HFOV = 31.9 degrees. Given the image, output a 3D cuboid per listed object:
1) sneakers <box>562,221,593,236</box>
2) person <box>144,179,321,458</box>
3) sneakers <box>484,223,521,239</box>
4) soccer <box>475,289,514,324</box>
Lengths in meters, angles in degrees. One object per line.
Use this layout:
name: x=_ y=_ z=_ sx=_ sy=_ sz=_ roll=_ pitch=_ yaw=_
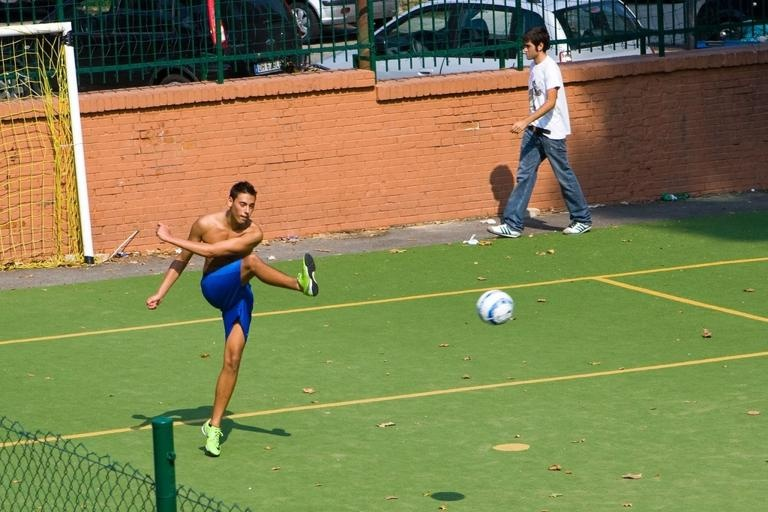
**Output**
sneakers: x=2.831 y=-0.388 z=19.502 sx=0.471 sy=0.131 sz=0.149 roll=-2 pitch=10 yaw=-10
person: x=-1.486 y=0.574 z=13.300 sx=1.577 sy=2.564 sz=1.126 roll=-9 pitch=12 yaw=-13
sneakers: x=1.715 y=-0.342 z=19.422 sx=0.567 sy=0.168 sz=0.174 roll=5 pitch=6 yaw=-10
soccer: x=1.197 y=0.572 z=14.545 sx=0.358 sy=0.371 sz=0.279 roll=-4 pitch=12 yaw=9
